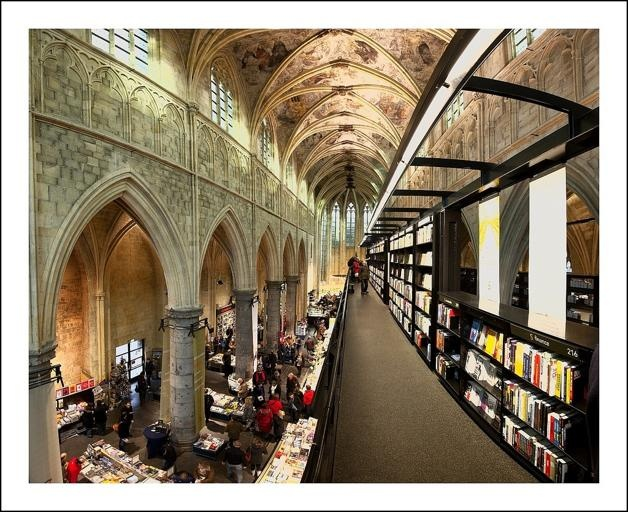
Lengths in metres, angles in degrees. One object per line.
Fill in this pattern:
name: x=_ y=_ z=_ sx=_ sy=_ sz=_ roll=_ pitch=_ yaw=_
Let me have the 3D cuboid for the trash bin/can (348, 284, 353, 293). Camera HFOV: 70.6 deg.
trash bin/can: x=1.572 y=1.408 z=18.950 sx=0.243 sy=0.541 sz=0.268 roll=1 pitch=-3 yaw=-8
